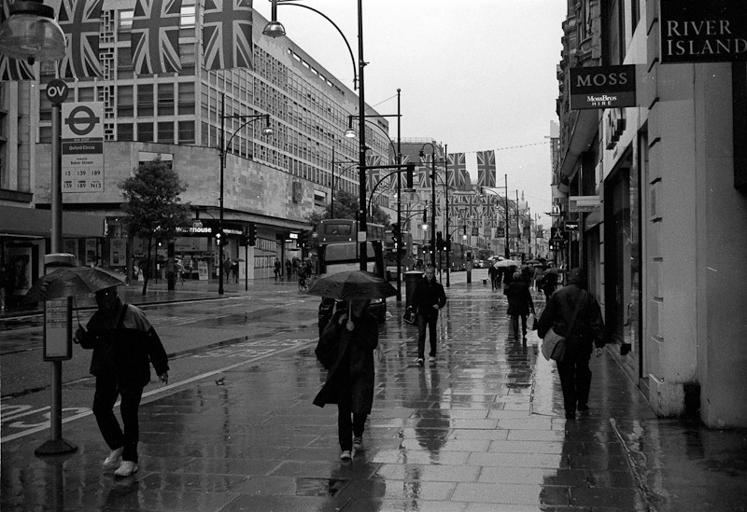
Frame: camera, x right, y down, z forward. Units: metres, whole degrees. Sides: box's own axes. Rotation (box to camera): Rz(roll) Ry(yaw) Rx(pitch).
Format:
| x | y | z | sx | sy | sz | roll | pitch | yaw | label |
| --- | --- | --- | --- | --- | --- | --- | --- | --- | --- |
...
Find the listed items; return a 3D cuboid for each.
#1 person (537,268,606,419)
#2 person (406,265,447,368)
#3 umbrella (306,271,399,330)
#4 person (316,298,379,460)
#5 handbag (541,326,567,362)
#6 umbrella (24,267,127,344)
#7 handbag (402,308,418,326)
| x | y | z | sx | sy | sz | roll | pitch | yaw | label |
| --- | --- | --- | --- | --- | --- | --- | --- | --- | --- |
| 3.294 | 1.444 | 14.255 | 1.079 | 2.470 | 0.614 | 1 | -1 | -16 | person |
| 1.230 | 1.338 | 19.221 | 0.831 | 2.167 | 0.829 | 0 | 5 | -24 | person |
| -0.317 | 0.422 | 12.459 | 1.252 | 0.412 | 0.503 | 1 | -1 | -6 | umbrella |
| -0.361 | 1.769 | 12.760 | 0.992 | 2.207 | 0.965 | -4 | -3 | 40 | person |
| 2.942 | 1.490 | 14.192 | 0.431 | 0.429 | 0.162 | 19 | -4 | -19 | handbag |
| -4.159 | 0.391 | 11.970 | 1.254 | 0.475 | 0.903 | 1 | -1 | -20 | umbrella |
| 0.815 | 1.342 | 18.926 | 0.311 | 0.387 | 0.537 | 1 | -1 | 5 | handbag |
